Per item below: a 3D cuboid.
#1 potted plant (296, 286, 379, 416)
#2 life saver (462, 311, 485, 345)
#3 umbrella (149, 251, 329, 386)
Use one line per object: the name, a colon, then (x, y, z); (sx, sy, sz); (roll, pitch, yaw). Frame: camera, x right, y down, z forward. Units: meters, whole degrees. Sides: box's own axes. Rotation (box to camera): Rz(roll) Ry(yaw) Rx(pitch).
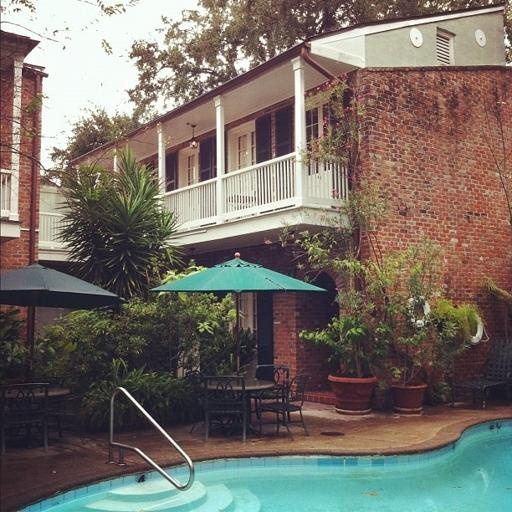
potted plant: (1.304, 1.685, 14.012); (1.609, 3.014, 1.858); (-3, -6, 11)
life saver: (4.302, 1.447, 15.364); (0.175, 0.673, 0.581); (10, -20, 12)
umbrella: (-0.277, 0.845, 12.057); (1.875, 1.603, 1.959); (-1, -6, -4)
